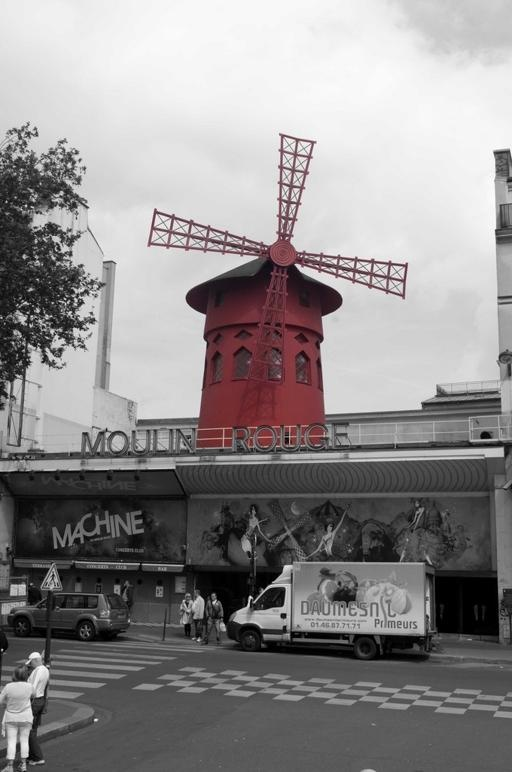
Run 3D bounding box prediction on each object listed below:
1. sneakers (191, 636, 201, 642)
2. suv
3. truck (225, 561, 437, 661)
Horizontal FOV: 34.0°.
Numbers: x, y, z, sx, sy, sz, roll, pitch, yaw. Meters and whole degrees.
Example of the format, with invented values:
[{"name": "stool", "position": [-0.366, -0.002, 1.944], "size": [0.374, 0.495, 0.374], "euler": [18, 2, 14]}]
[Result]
[{"name": "sneakers", "position": [-1.504, 6.349, 20.856], "size": [0.115, 0.145, 0.346], "euler": [8, -10, -31]}, {"name": "suv", "position": [-4.518, 5.541, 20.275], "size": [2.607, 0.986, 1.267], "euler": [1, -17, 11]}, {"name": "truck", "position": [1.601, 4.939, 18.340], "size": [4.364, 1.912, 1.928], "euler": [-2, -18, 19]}]
